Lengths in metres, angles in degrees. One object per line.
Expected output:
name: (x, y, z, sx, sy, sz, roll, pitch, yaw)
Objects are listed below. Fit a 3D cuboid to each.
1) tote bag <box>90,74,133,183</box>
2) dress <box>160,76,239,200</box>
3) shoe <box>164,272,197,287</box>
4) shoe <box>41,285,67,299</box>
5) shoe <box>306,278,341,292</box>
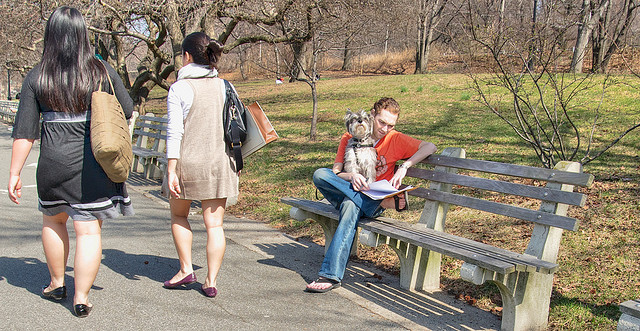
tote bag: (-3.064, -0.413, 7.189, 0.519, 1.318, 0.430, -5, 17, -23)
dress: (-1.768, -0.428, 7.606, 0.949, 1.871, 0.603, 0, 16, -9)
shoe: (-2.257, 1.847, 7.903, 0.598, 0.200, 0.196, -1, 7, 7)
shoe: (-4.065, 1.934, 7.515, 0.380, 0.195, 0.162, -1, 15, -9)
shoe: (0.047, 1.930, 7.920, 0.554, 0.145, 0.217, 8, -12, -43)
